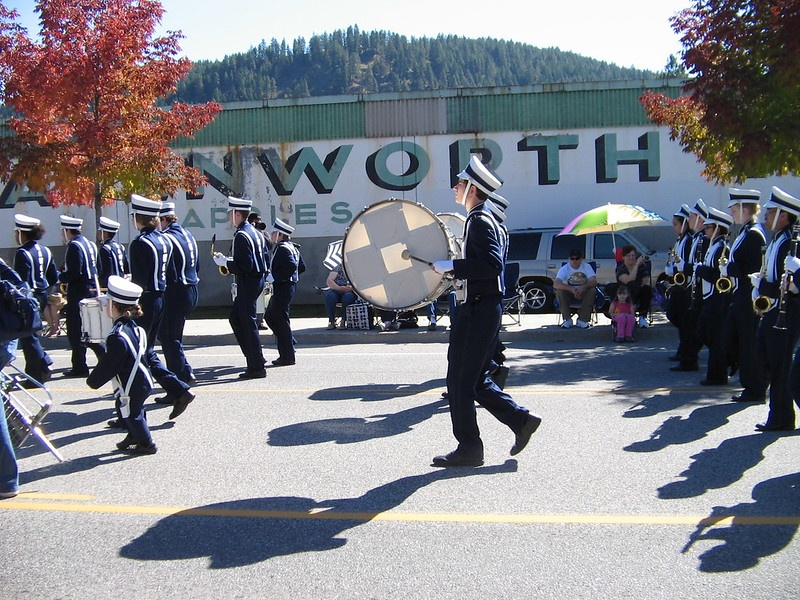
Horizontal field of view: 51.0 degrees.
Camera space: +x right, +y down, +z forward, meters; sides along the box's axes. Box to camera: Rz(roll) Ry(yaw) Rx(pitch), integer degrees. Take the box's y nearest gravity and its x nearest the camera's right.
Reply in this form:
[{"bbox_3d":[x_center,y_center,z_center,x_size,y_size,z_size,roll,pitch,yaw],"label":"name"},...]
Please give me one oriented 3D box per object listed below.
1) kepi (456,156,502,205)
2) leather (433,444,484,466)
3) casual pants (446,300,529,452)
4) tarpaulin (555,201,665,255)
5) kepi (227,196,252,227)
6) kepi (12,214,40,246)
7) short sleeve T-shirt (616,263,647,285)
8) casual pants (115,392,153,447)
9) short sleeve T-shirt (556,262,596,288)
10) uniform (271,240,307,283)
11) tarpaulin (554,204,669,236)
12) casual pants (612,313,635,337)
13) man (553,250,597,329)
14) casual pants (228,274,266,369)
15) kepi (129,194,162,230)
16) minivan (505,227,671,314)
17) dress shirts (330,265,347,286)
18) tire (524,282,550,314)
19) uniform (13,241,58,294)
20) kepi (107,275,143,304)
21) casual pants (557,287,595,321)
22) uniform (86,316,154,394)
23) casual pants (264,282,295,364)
[{"bbox_3d":[0.679,-1.078,7.637,0.404,0.363,0.355,10,14,0],"label":"kepi"},{"bbox_3d":[0.530,1.419,7.627,0.473,0.205,0.182,1,-4,3],"label":"leather"},{"bbox_3d":[0.729,0.629,7.498,0.655,1.375,0.282,-4,10,-17],"label":"casual pants"},{"bbox_3d":[4.007,-1.563,16.962,1.184,0.413,1.156,-17,2,-26],"label":"tarpaulin"},{"bbox_3d":[-2.198,-1.210,11.380,0.395,0.461,0.370,0,9,-8],"label":"kepi"},{"bbox_3d":[-5.031,-0.945,11.228,0.389,0.422,0.379,0,11,-2],"label":"kepi"},{"bbox_3d":[4.170,-0.489,15.193,0.494,0.368,0.527,-3,10,-9],"label":"short sleeve T-shirt"},{"bbox_3d":[-2.554,1.151,8.075,0.277,0.548,0.168,-4,10,-17],"label":"casual pants"},{"bbox_3d":[3.274,-0.472,15.599,0.715,0.578,0.402,4,1,23],"label":"short sleeve T-shirt"},{"bbox_3d":[-1.707,-0.548,12.481,0.386,0.657,0.682,-2,-1,10],"label":"uniform"},{"bbox_3d":[4.313,-1.636,17.030,1.621,0.562,1.185,-5,11,-18],"label":"tarpaulin"},{"bbox_3d":[3.841,0.447,14.473,0.353,0.416,0.158,1,10,15],"label":"casual pants"},{"bbox_3d":[3.207,-0.212,15.462,0.738,1.414,0.540,0,10,10],"label":"man"},{"bbox_3d":[-2.081,0.137,11.446,0.526,1.777,0.382,-5,20,-15],"label":"casual pants"},{"bbox_3d":[-2.936,-1.040,9.759,0.336,0.425,0.408,2,15,-11],"label":"kepi"},{"bbox_3d":[4.225,-0.757,19.390,3.256,1.723,1.914,-2,4,14],"label":"minivan"},{"bbox_3d":[-1.079,-0.432,14.481,0.182,0.333,0.327,-15,4,-16],"label":"dress shirts"},{"bbox_3d":[3.131,-0.096,19.341,0.639,0.703,0.236,-3,0,2],"label":"tire"},{"bbox_3d":[-4.798,-0.451,11.418,0.551,0.637,0.274,-6,-2,31],"label":"uniform"},{"bbox_3d":[-2.730,-0.091,8.286,0.290,0.283,0.565,-5,11,-18],"label":"kepi"},{"bbox_3d":[3.265,0.054,15.668,0.559,0.768,0.607,0,-21,19],"label":"casual pants"},{"bbox_3d":[-2.666,0.531,8.124,0.585,0.802,0.887,1,4,7],"label":"uniform"},{"bbox_3d":[-1.792,0.359,12.424,0.413,1.258,0.568,-3,10,-10],"label":"casual pants"}]
